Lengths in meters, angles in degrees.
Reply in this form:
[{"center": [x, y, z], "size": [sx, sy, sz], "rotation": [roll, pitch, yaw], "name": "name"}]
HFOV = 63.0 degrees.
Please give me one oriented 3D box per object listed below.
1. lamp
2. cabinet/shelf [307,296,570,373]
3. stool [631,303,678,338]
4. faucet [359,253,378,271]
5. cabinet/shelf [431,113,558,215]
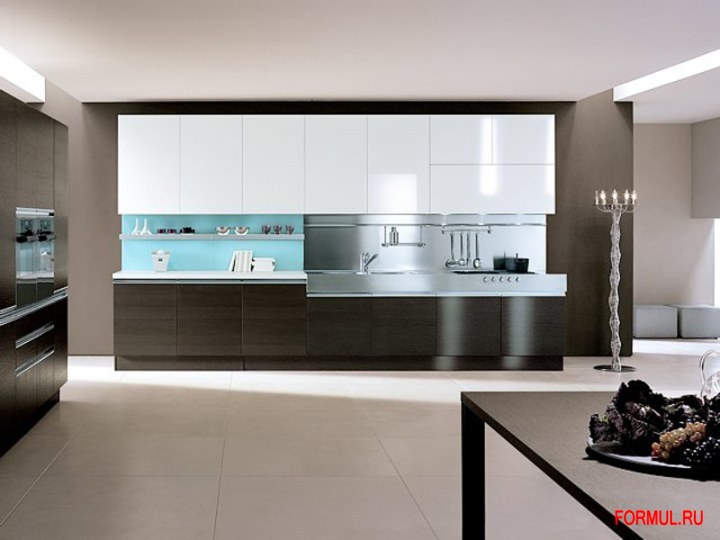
[{"center": [2.990, 0.072, 6.913], "size": [0.481, 2.073, 1.046], "rotation": [2, 4, 21], "name": "lamp"}, {"center": [0.833, 0.521, 6.939], "size": [2.863, 0.973, 0.876], "rotation": [0, 9, 0], "name": "cabinet/shelf"}, {"center": [4.389, 0.767, 8.731], "size": [0.497, 0.384, 0.512], "rotation": [-2, -2, 5], "name": "stool"}, {"center": [0.097, -0.094, 7.082], "size": [0.215, 0.224, 0.225], "rotation": [1, 4, 11], "name": "faucet"}, {"center": [1.558, -1.201, 7.075], "size": [1.440, 1.207, 0.489], "rotation": [1, -6, 9], "name": "cabinet/shelf"}]
